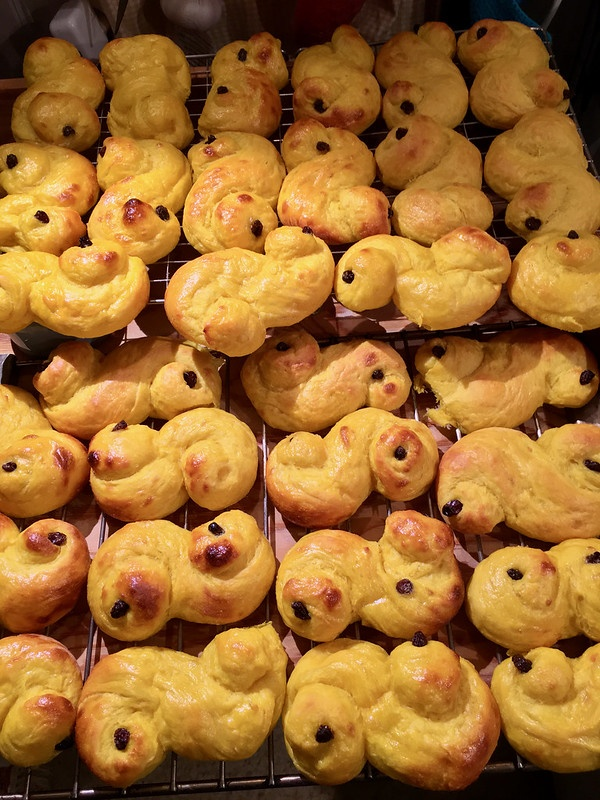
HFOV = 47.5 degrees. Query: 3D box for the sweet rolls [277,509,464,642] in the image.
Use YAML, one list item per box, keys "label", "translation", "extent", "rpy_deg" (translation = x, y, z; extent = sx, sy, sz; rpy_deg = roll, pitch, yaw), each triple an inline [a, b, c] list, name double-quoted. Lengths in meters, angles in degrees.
- label: "sweet rolls"
  translation: [0.153, 0.363, 1.271]
  extent: [0.428, 0.135, 0.262]
  rpy_deg: [-2, 65, -4]
